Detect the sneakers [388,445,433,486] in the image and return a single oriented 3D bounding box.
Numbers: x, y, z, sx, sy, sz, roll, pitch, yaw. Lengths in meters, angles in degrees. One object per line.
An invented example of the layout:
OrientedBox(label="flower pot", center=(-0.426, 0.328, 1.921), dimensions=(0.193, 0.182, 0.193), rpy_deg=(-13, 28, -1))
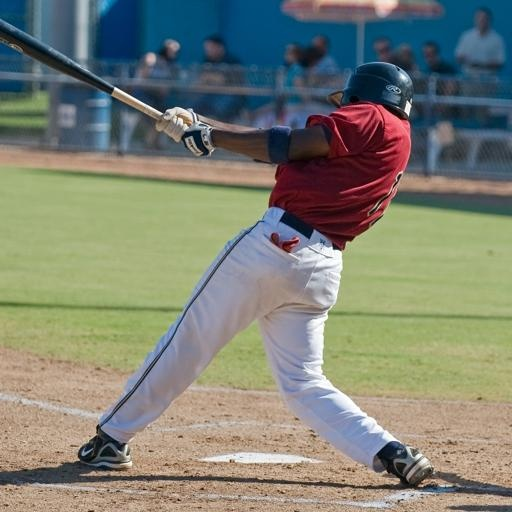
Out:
OrientedBox(label="sneakers", center=(0.642, 0.871, 4.083), dimensions=(0.104, 0.114, 0.231), rpy_deg=(50, 1, 16))

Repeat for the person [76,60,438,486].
OrientedBox(label="person", center=(0.154, 0.069, 4.209), dimensions=(1.404, 1.882, 0.405), rpy_deg=(11, 6, 9))

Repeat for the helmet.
OrientedBox(label="helmet", center=(0.502, -0.723, 4.275), dimensions=(0.382, 0.189, 0.228), rpy_deg=(4, 6, -5))

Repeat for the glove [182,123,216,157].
OrientedBox(label="glove", center=(-0.246, -0.522, 4.347), dimensions=(0.135, 0.152, 0.103), rpy_deg=(33, -56, -31))
